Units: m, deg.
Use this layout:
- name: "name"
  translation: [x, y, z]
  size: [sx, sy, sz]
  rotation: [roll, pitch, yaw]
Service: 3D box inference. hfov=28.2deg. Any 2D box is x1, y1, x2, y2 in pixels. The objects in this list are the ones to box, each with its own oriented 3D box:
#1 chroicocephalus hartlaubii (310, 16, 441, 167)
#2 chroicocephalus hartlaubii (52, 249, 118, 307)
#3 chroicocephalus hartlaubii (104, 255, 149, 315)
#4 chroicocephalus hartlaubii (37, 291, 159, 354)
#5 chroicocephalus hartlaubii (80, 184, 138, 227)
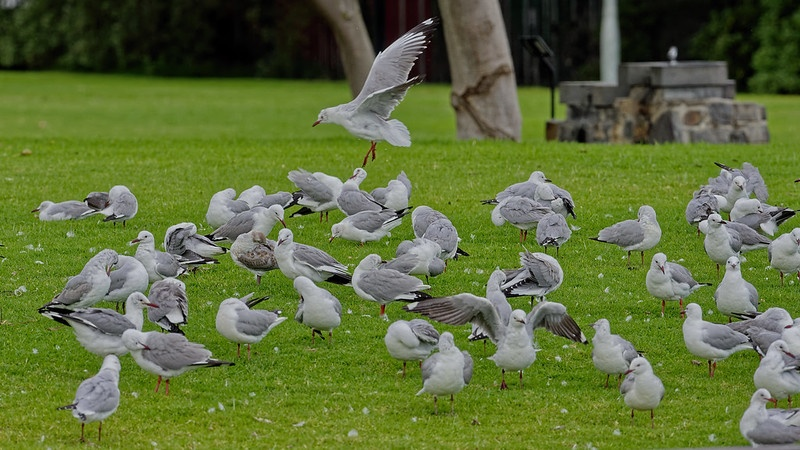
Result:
- name: "chroicocephalus hartlaubii"
  translation: [-0.524, -4.206, 51.771]
  size: [3.203, 4.908, 3.099]
  rotation: [2, 10, 6]
- name: "chroicocephalus hartlaubii"
  translation: [-9.005, 1.662, 46.480]
  size: [1.683, 2.153, 1.074]
  rotation: [0, 0, -32]
- name: "chroicocephalus hartlaubii"
  translation: [-7.843, 1.799, 47.125]
  size: [0.761, 1.805, 1.949]
  rotation: [1, 1, 6]
- name: "chroicocephalus hartlaubii"
  translation: [-8.444, 2.908, 45.651]
  size: [2.900, 1.774, 1.115]
  rotation: [-1, 10, -10]
- name: "chroicocephalus hartlaubii"
  translation: [-9.032, -0.659, 51.065]
  size: [1.889, 1.202, 0.943]
  rotation: [28, 19, 37]
